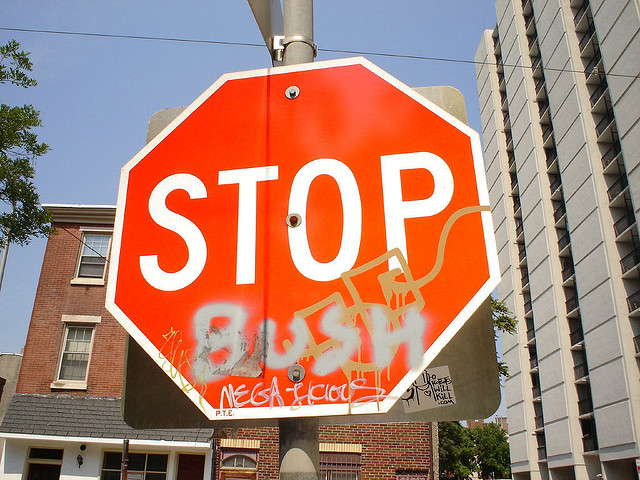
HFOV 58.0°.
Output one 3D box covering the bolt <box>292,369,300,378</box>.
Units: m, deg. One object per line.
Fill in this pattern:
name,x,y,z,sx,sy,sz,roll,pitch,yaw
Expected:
bolt,-0.107,0.598,2.584,0.031,0.036,0.003,-4,-22,6
